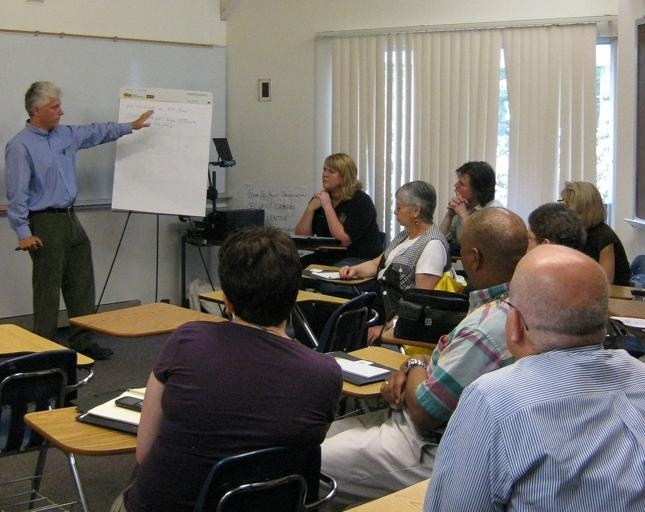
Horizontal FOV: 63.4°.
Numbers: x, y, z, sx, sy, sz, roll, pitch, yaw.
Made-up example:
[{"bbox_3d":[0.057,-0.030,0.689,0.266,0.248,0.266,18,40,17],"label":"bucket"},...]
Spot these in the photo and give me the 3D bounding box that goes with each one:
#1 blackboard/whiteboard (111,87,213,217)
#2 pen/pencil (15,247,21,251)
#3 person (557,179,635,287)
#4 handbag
[{"bbox_3d":[-1.508,-0.979,4.904,1.149,1.584,0.127,4,0,-12],"label":"blackboard/whiteboard"},{"bbox_3d":[-2.629,-0.063,4.518,0.031,0.021,0.020,-6,-17,-7],"label":"pen/pencil"},{"bbox_3d":[1.836,-0.123,3.657,0.455,0.750,0.479,-18,7,-42],"label":"person"},{"bbox_3d":[0.553,0.281,2.697,0.272,0.209,0.294,7,-3,-18],"label":"handbag"}]
